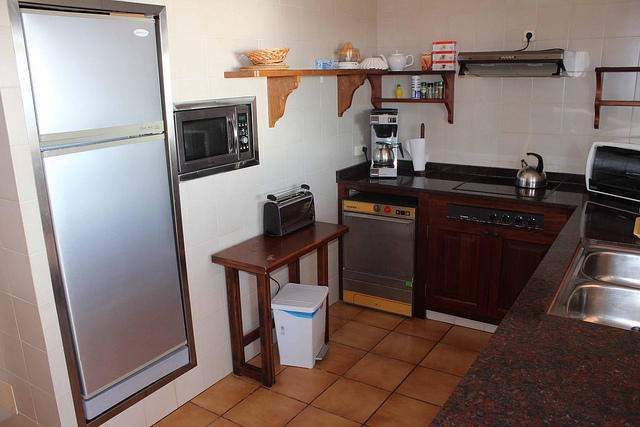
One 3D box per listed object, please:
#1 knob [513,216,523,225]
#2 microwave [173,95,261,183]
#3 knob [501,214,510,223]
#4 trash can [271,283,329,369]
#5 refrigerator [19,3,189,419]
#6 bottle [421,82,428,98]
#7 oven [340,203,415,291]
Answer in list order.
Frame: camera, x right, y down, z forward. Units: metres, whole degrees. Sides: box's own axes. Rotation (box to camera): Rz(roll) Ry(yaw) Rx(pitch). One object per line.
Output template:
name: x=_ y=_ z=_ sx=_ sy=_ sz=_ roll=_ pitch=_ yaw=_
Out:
knob: x=1.548 y=0.059 z=3.396 sx=0.055 sy=0.052 sz=0.056 roll=0 pitch=2 yaw=24
microwave: x=-0.811 y=-0.553 z=3.128 sx=0.646 sy=0.470 sz=0.386 roll=-16 pitch=25 yaw=-36
knob: x=1.466 y=0.046 z=3.442 sx=0.055 sy=0.059 sz=0.057 roll=4 pitch=20 yaw=12
trash can: x=-0.139 y=0.873 z=3.413 sx=0.361 sy=0.531 sz=0.343 roll=3 pitch=21 yaw=16
refrigerator: x=-1.185 y=0.012 z=2.539 sx=0.263 sy=2.234 sz=0.939 roll=12 pitch=25 yaw=35
bottle: x=0.985 y=-1.147 z=4.113 sx=0.053 sy=0.129 sz=0.028 roll=0 pitch=20 yaw=8
oven: x=0.573 y=0.185 z=4.285 sx=0.753 sy=1.040 sz=0.699 roll=6 pitch=13 yaw=27
